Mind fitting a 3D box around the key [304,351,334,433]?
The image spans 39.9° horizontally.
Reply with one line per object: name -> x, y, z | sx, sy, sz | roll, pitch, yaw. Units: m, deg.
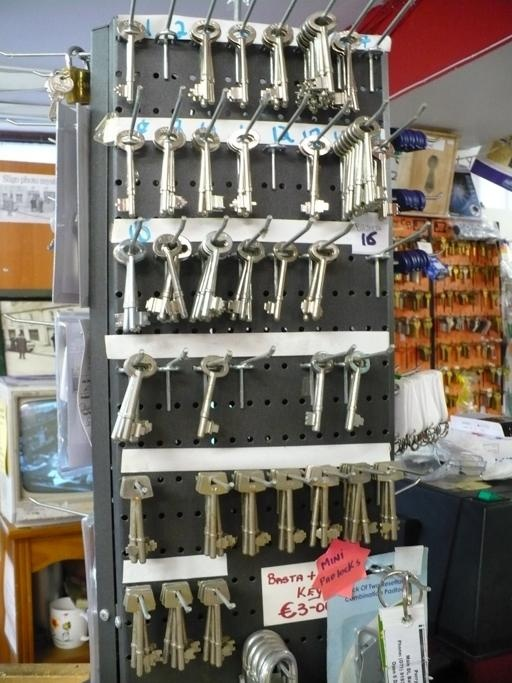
key -> 0.124, 0.098, 1.387 | 0.046, 0.151, 0.054 | 15, -16, -35

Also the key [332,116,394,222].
key -> 0.209, -0.352, 1.414 | 0.109, 0.192, 0.111 | -1, 1, 11

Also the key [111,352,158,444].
key -> -0.229, 0.109, 1.328 | 0.089, 0.180, 0.135 | -2, 1, -12

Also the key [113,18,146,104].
key -> -0.247, -0.556, 1.380 | 0.060, 0.170, 0.023 | 3, 0, -14

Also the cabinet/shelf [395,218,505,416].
cabinet/shelf -> 1.116, -0.122, 4.320 | 0.715, 1.639, 0.332 | -3, 8, -23

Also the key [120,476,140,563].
key -> -0.237, 0.334, 1.323 | 0.036, 0.153, 0.046 | -1, 1, -11

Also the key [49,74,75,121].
key -> -0.392, -0.485, 1.406 | 0.057, 0.100, 0.023 | -17, -5, -14

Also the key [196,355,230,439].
key -> -0.091, 0.112, 1.366 | 0.064, 0.170, 0.024 | 9, -11, -13

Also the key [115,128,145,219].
key -> -0.251, -0.330, 1.365 | 0.055, 0.169, 0.054 | -1, 1, 14

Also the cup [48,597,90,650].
cup -> -0.536, 0.819, 2.091 | 0.133, 0.133, 0.155 | -1, 5, -11
